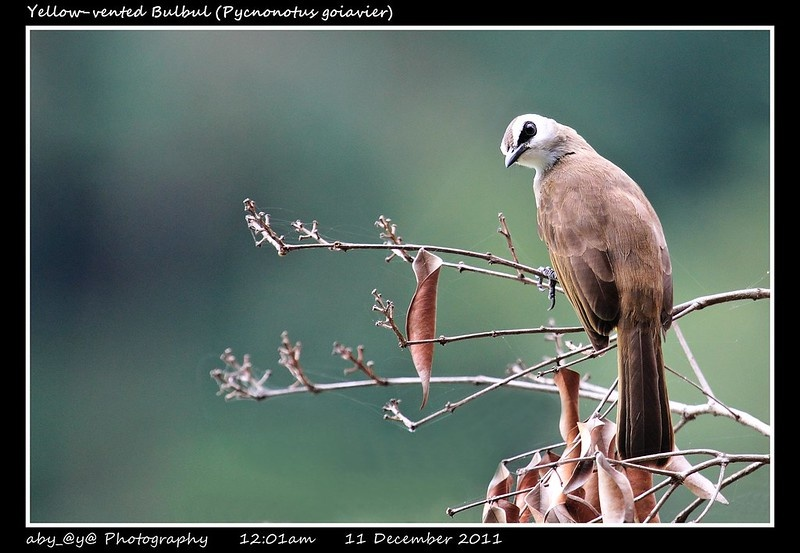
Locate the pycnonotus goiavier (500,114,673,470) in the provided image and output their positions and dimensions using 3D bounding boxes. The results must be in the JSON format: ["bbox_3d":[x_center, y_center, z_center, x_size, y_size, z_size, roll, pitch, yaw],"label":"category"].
[{"bbox_3d":[1.202,-0.059,5.543,0.802,2.403,0.412,-13,-33,11],"label":"pycnonotus goiavier"}]
